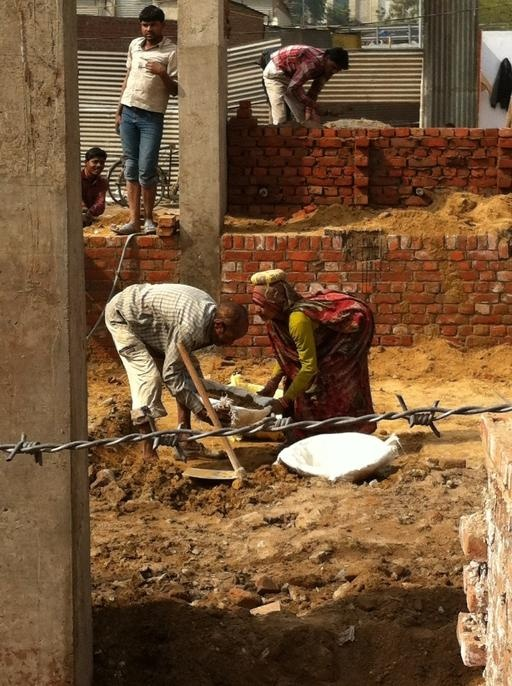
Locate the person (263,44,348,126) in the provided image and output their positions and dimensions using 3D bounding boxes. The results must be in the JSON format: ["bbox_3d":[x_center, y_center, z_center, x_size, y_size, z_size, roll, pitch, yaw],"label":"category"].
[{"bbox_3d":[0.422,-2.311,8.720,0.515,0.675,1.166,-8,11,-10],"label":"person"}]

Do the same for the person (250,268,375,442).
[{"bbox_3d":[0.274,0.013,5.569,0.545,0.918,0.626,2,15,33],"label":"person"}]

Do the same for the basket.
[{"bbox_3d":[-0.104,0.361,5.588,0.281,0.125,0.354,12,-11,27],"label":"basket"}]

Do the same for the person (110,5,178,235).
[{"bbox_3d":[-0.848,-1.698,7.581,0.545,1.696,0.432,0,15,26],"label":"person"}]

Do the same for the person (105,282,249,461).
[{"bbox_3d":[-0.433,0.172,5.373,0.599,0.971,0.778,-11,13,-22],"label":"person"}]

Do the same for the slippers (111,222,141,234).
[{"bbox_3d":[-1.031,-0.912,7.740,0.215,0.071,0.108,0,1,-13],"label":"slippers"}]
